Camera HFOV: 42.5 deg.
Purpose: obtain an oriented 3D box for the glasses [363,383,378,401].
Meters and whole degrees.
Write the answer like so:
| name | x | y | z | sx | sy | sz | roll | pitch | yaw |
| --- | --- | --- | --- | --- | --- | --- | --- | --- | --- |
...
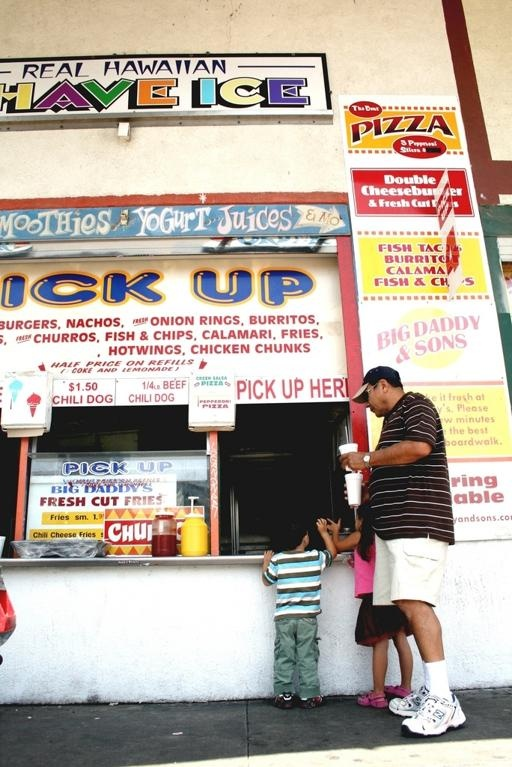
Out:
| name | x | y | z | sx | sy | sz | roll | pitch | yaw |
| --- | --- | --- | --- | --- | --- | --- | --- | --- | --- |
| glasses | 0.586 | 0.050 | 3.365 | 0.067 | 0.067 | 0.021 | 14 | 13 | 14 |

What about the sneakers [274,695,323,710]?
| name | x | y | z | sx | sy | sz | roll | pitch | yaw |
| --- | --- | --- | --- | --- | --- | --- | --- | --- | --- |
| sneakers | 0.220 | 1.654 | 3.444 | 0.233 | 0.062 | 0.195 | -9 | -17 | 29 |

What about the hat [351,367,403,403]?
| name | x | y | z | sx | sy | sz | roll | pitch | yaw |
| --- | --- | --- | --- | --- | --- | --- | --- | --- | --- |
| hat | 0.611 | 0.025 | 3.382 | 0.249 | 0.133 | 0.156 | -14 | -12 | 22 |

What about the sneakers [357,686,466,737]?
| name | x | y | z | sx | sy | sz | roll | pitch | yaw |
| --- | --- | --- | --- | --- | --- | --- | --- | --- | --- |
| sneakers | 0.728 | 1.410 | 2.814 | 0.325 | 0.116 | 0.251 | 12 | -19 | -21 |

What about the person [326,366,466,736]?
| name | x | y | z | sx | sy | sz | roll | pitch | yaw |
| --- | --- | --- | --- | --- | --- | --- | --- | --- | --- |
| person | 0.697 | 0.704 | 3.090 | 0.362 | 1.657 | 0.537 | 6 | -17 | -24 |
